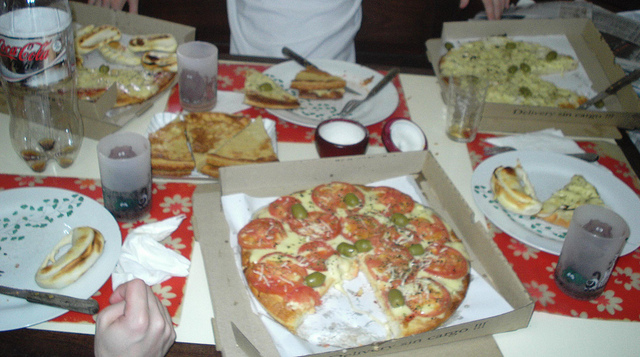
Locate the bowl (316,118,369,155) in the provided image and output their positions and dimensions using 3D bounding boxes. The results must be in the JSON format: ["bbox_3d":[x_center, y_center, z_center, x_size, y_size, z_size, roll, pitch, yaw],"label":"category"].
[{"bbox_3d":[0.143,-0.214,2.434,0.287,0.186,0.261,-2,9,0],"label":"bowl"}]

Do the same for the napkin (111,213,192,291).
[{"bbox_3d":[-0.707,0.294,1.999,0.318,0.065,0.303,-8,53,-13],"label":"napkin"}]

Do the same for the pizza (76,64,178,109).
[{"bbox_3d":[-1.017,-0.461,2.511,0.388,0.061,0.265,-1,39,-10],"label":"pizza"}]

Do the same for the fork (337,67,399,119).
[{"bbox_3d":[0.263,-0.457,2.634,0.057,0.040,0.476,44,58,0],"label":"fork"}]

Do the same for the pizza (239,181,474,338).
[{"bbox_3d":[0.145,0.307,1.991,0.968,0.107,0.668,3,52,-5],"label":"pizza"}]

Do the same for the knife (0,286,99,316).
[{"bbox_3d":[-1.039,0.469,1.828,0.344,0.043,0.035,11,41,-3],"label":"knife"}]

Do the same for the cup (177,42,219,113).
[{"bbox_3d":[-0.628,-0.526,2.496,0.241,0.325,0.361,0,40,-10],"label":"cup"}]

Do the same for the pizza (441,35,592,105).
[{"bbox_3d":[1.154,-0.638,2.839,0.688,0.073,0.478,4,44,7],"label":"pizza"}]

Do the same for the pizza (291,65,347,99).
[{"bbox_3d":[-0.018,-0.521,2.623,0.210,0.071,0.187,6,61,4],"label":"pizza"}]

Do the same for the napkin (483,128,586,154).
[{"bbox_3d":[1.118,-0.181,2.454,0.432,0.016,0.165,-4,47,-5],"label":"napkin"}]

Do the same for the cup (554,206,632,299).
[{"bbox_3d":[1.133,0.312,1.965,0.300,0.276,0.309,4,53,-5],"label":"cup"}]

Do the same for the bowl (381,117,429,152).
[{"bbox_3d":[0.415,-0.209,2.378,0.215,0.059,0.215,4,52,-5],"label":"bowl"}]

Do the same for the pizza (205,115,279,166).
[{"bbox_3d":[-0.362,-0.177,2.365,0.325,0.080,0.353,-4,52,-4],"label":"pizza"}]

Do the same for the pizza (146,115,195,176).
[{"bbox_3d":[-0.718,-0.183,2.351,0.239,0.087,0.338,12,53,-28],"label":"pizza"}]

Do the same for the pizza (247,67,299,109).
[{"bbox_3d":[-0.255,-0.487,2.498,0.218,0.062,0.183,25,44,-1],"label":"pizza"}]

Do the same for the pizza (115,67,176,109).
[{"bbox_3d":[-0.922,-0.455,2.540,0.279,0.037,0.217,-24,47,-30],"label":"pizza"}]

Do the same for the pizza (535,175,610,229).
[{"bbox_3d":[1.116,0.121,2.155,0.319,0.037,0.334,4,42,22],"label":"pizza"}]
